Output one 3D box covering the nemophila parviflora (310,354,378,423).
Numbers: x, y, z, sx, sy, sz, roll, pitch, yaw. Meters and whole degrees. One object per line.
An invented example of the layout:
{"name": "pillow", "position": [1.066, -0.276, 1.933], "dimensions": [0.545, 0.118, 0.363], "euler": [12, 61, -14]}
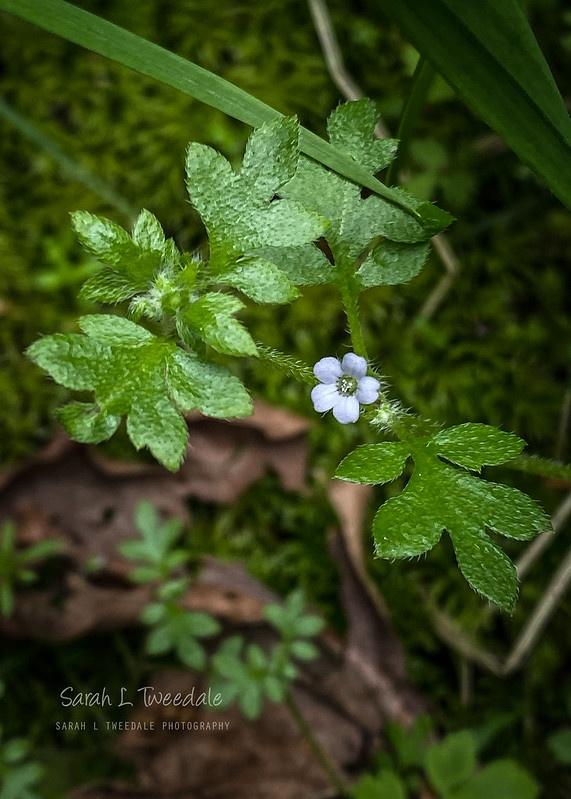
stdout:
{"name": "nemophila parviflora", "position": [0.127, -0.027, 1.432], "dimensions": [0.167, 0.048, 0.131], "euler": [-14, 101, -36]}
